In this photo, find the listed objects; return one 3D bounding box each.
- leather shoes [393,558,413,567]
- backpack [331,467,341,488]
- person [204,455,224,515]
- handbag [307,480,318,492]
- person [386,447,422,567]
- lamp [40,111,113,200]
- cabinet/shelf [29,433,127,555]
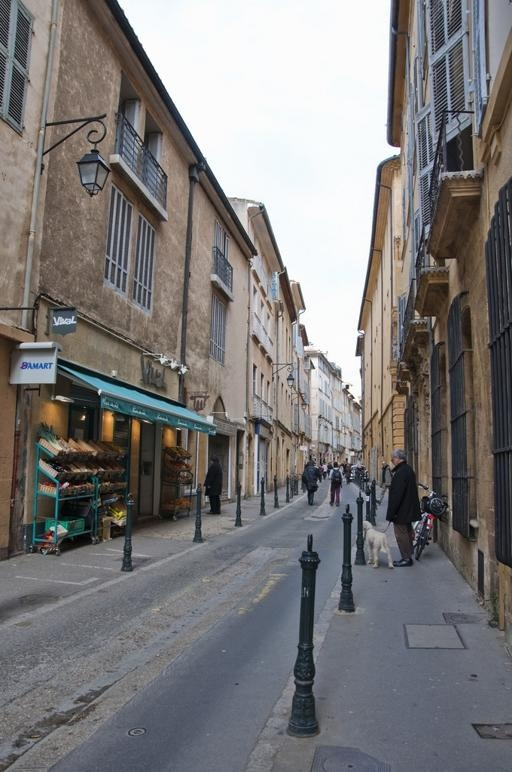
[{"bbox_3d":[2.079,2.811,7.933,0.264,0.200,0.144,3,-8,6],"label":"leather shoes"},{"bbox_3d":[2.879,3.655,20.091,0.277,0.695,1.040,0,-9,2],"label":"backpack"},{"bbox_3d":[-1.216,3.245,16.132,0.450,1.787,1.069,1,-7,-6],"label":"person"},{"bbox_3d":[2.154,4.263,21.360,0.282,0.452,0.363,1,-19,-4],"label":"handbag"},{"bbox_3d":[2.099,1.936,8.002,0.457,1.840,0.798,-2,-6,19],"label":"person"},{"bbox_3d":[-2.682,-3.866,8.309,0.896,1.605,0.356,0,-17,-3],"label":"lamp"},{"bbox_3d":[-2.868,1.908,9.266,0.525,2.043,2.253,-1,-8,8],"label":"cabinet/shelf"}]
